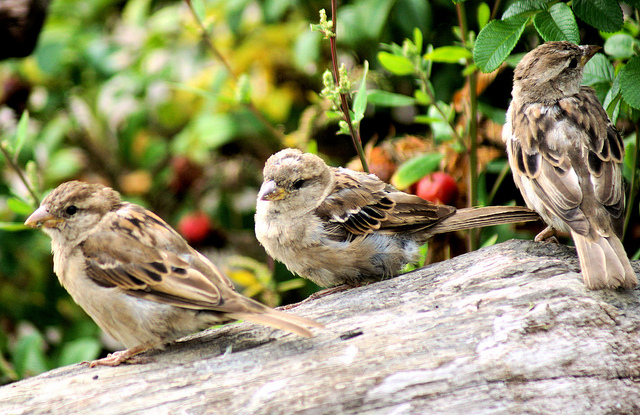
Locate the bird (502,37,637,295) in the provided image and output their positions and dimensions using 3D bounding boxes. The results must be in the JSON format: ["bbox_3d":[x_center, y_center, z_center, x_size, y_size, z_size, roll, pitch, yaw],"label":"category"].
[{"bbox_3d":[1.591,-0.347,4.571,0.739,1.183,1.878,-11,47,17],"label":"bird"}]
